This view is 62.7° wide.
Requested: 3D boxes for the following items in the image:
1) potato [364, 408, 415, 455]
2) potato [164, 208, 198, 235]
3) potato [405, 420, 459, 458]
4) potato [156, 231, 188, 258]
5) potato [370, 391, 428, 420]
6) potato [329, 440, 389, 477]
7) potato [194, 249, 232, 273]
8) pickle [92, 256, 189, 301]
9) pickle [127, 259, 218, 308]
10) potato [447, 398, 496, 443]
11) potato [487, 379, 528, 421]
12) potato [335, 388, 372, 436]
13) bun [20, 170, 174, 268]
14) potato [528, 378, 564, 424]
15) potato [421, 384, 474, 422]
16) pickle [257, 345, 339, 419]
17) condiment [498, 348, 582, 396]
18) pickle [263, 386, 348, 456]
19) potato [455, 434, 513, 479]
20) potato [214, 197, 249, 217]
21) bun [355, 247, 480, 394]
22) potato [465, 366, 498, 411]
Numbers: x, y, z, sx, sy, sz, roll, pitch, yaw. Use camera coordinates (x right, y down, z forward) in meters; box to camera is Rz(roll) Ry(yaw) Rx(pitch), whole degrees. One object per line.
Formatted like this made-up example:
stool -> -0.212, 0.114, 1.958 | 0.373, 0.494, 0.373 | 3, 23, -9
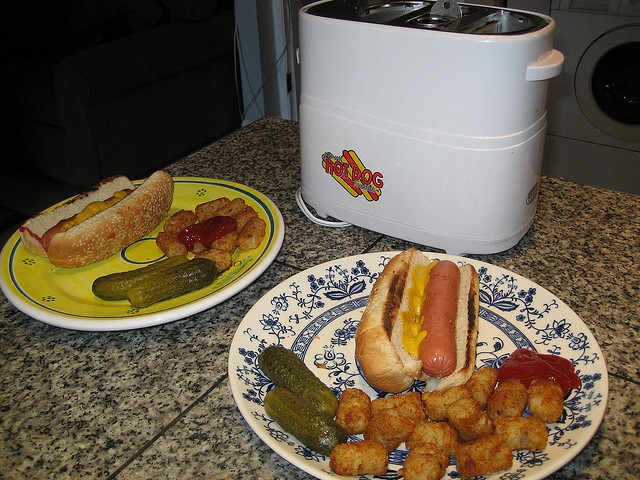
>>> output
potato -> 0.134, 0.364, 1.020 | 0.083, 0.035, 0.083 | -44, 79, -3
potato -> -0.423, -0.059, 1.578 | 0.052, 0.028, 0.085 | 16, 36, 16
potato -> 0.222, 0.388, 1.066 | 0.116, 0.146, 0.045 | 2, 89, 14
potato -> -0.421, -0.003, 1.486 | 0.052, 0.030, 0.093 | -27, 48, -27
potato -> 0.165, 0.336, 1.079 | 0.080, 0.026, 0.062 | -3, 30, 3
potato -> 0.075, 0.415, 0.989 | 0.113, 0.059, 0.060 | -1, 47, 1
potato -> -0.278, 0.049, 1.407 | 0.079, 0.024, 0.061 | 18, 44, 4
pickle -> -0.438, 0.092, 1.367 | 0.353, 0.102, 0.102 | -1, 15, 22
pickle -> -0.369, 0.108, 1.347 | 0.248, 0.088, 0.097 | -20, 34, -32
potato -> 0.289, 0.345, 1.034 | 0.068, 0.039, 0.091 | -38, 97, -11
potato -> 0.381, 0.322, 1.064 | 0.050, 0.038, 0.099 | 24, 30, 16
potato -> 0.069, 0.344, 1.063 | 0.054, 0.028, 0.086 | 12, 37, 2
bun -> -0.669, -0.068, 1.640 | 0.461, 0.179, 0.346 | -34, 35, -32
potato -> 0.455, 0.318, 1.053 | 0.070, 0.032, 0.092 | 17, 51, 17
potato -> 0.258, 0.321, 1.055 | 0.083, 0.031, 0.070 | -6, 67, 5
pickle -> -0.055, 0.288, 1.169 | 0.081, 0.073, 0.225 | -40, 60, -23
condiment -> 0.468, 0.279, 1.121 | 0.108, 0.035, 0.086 | 6, 37, 17
pickle -> -0.034, 0.353, 1.034 | 0.181, 0.045, 0.072 | 28, 54, 24
potato -> 0.300, 0.399, 0.962 | 0.087, 0.030, 0.070 | -15, 44, 1
potato -> -0.268, -0.098, 1.593 | 0.048, 0.021, 0.094 | 25, 62, 32
bun -> 0.212, 0.134, 1.215 | 0.198, 0.098, 0.361 | 6, 40, 11
potato -> 0.341, 0.302, 1.098 | 0.046, 0.031, 0.093 | 18, 38, 16
